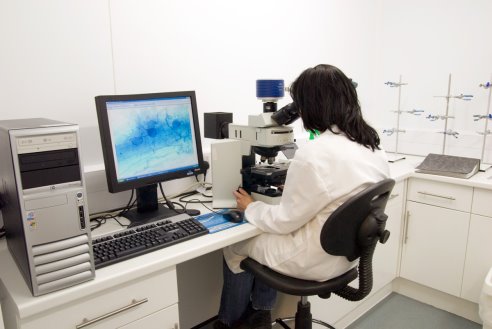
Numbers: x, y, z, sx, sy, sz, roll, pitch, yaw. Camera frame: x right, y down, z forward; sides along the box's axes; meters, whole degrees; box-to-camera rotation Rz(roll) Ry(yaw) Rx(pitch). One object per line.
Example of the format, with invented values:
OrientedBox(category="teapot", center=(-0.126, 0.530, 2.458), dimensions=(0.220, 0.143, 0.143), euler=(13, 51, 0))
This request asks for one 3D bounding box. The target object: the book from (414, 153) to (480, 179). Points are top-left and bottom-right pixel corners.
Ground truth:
OrientedBox(category="book", center=(1.612, 0.008, 2.766), dimensions=(0.266, 0.088, 0.382), euler=(-21, 22, -36))

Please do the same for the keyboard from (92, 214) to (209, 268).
OrientedBox(category="keyboard", center=(-0.511, 0.378, 1.761), dimensions=(0.566, 0.057, 0.236), euler=(-12, 21, -33))

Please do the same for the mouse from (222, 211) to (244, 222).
OrientedBox(category="mouse", center=(-0.073, 0.285, 1.958), dimensions=(0.055, 0.033, 0.095), euler=(-10, 18, -42))

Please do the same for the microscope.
OrientedBox(category="microscope", center=(0.068, -0.107, 2.154), dimensions=(0.743, 0.809, 0.307), euler=(7, 15, 33))
